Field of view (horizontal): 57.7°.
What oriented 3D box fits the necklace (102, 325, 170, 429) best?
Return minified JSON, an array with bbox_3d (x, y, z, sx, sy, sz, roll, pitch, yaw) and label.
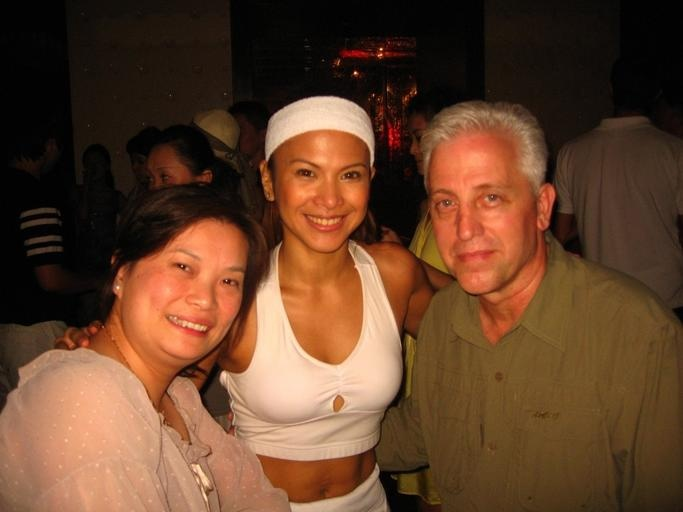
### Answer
[{"bbox_3d":[-0.880,0.540,2.895,0.267,0.470,0.253,-26,0,-37],"label":"necklace"}]
